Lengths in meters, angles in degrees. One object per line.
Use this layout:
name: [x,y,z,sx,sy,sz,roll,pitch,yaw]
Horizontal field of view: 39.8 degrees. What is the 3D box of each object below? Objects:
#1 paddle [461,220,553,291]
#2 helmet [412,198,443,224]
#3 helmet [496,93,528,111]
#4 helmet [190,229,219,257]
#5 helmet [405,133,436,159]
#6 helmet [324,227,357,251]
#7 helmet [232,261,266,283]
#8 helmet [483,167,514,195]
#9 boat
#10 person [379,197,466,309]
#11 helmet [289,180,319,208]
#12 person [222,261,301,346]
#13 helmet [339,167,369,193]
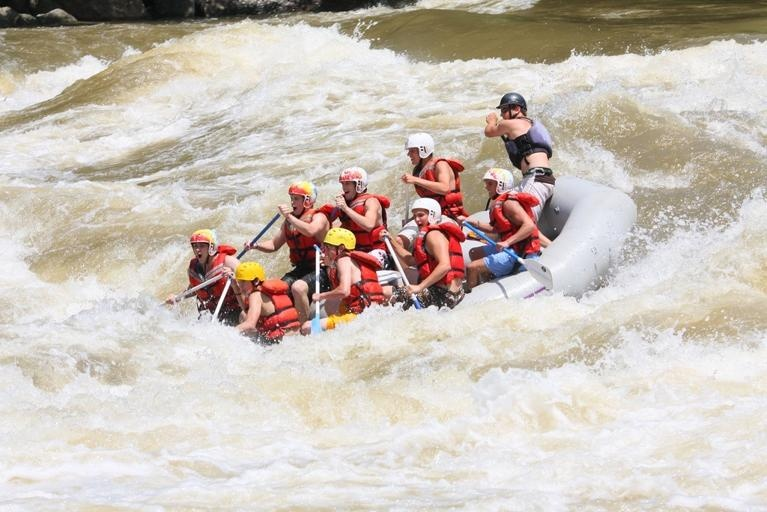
paddle: [1.846,0.015,15.961,0.882,0.177,0.888,33,13,35]
helmet: [0.662,-0.694,16.051,0.481,0.315,0.358,-1,-3,-27]
helmet: [2.070,-2.541,17.198,0.444,0.180,0.330,4,-1,-1]
helmet: [-2.743,-0.246,16.241,0.325,0.380,0.336,-2,42,5]
helmet: [0.587,-1.766,16.908,0.503,0.326,0.357,4,4,0]
helmet: [-0.658,-0.275,15.754,0.429,0.206,0.313,-3,9,-4]
helmet: [-2.005,0.225,15.760,0.392,0.190,0.294,-5,9,-6]
helmet: [1.772,-1.173,16.373,0.516,0.337,0.359,-1,-1,-4]
boat: [1.020,0.164,15.824,2.899,0.855,1.751,-25,30,2]
person: [0.671,0.058,15.827,1.103,1.291,1.359,-3,42,3]
helmet: [-1.251,-0.992,16.461,0.478,0.307,0.370,-3,3,-22]
person: [-1.756,0.694,15.660,0.864,0.909,0.972,-12,42,-6]
helmet: [-0.441,-1.181,16.463,0.504,0.344,0.355,4,-5,-32]
